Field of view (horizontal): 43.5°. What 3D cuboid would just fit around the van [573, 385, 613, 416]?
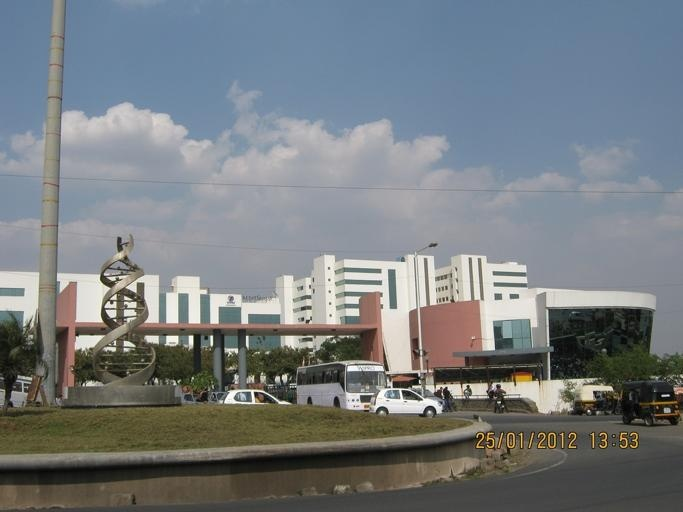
[{"bbox_3d":[14.716,8.379,49.714,2.587,1.635,1.628,0,-2,-34],"label":"van"}]

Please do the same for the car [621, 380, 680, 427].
[{"bbox_3d":[14.135,6.764,39.198,1.896,2.220,2.878,-2,-6,-3],"label":"car"}]
